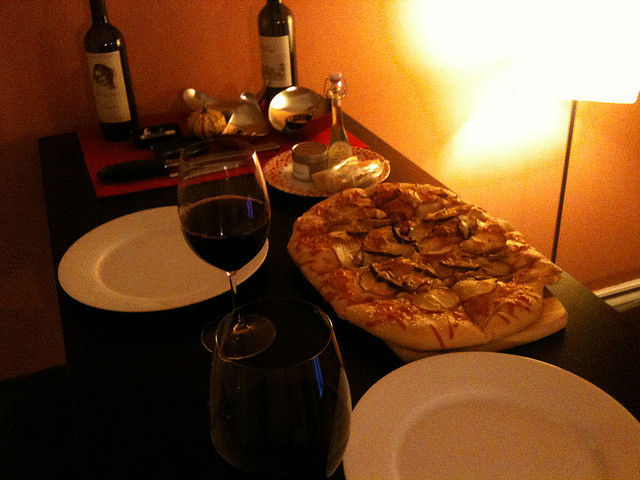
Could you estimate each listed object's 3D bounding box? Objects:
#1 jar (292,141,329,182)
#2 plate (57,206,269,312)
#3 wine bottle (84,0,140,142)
[{"bbox_3d":[-0.020,-0.174,1.115,0.088,0.067,0.088,0,31,0],"label":"jar"},{"bbox_3d":[-0.265,0.042,0.835,0.308,0.033,0.304,-6,32,-15],"label":"plate"},{"bbox_3d":[-0.514,-0.398,1.207,0.104,0.329,0.096,-3,30,2],"label":"wine bottle"}]
